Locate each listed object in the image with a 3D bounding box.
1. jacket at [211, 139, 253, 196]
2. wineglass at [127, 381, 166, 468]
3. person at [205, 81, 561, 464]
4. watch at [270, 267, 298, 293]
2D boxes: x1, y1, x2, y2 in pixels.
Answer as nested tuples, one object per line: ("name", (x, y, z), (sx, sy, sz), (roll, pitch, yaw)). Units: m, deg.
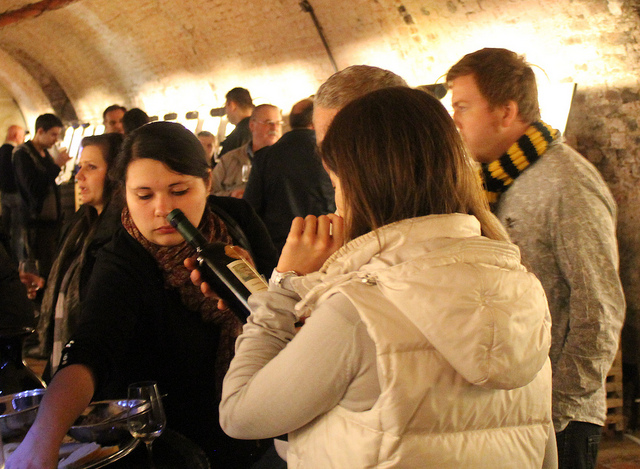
("jacket", (-0.846, -0.592, 5.331), (0.540, 0.493, 0.235), (2, -15, 38))
("wineglass", (-0.594, 0.652, 1.938), (0.122, 0.185, 0.229), (-16, 10, -20))
("person", (0.159, 0.152, 1.596), (0.881, 1.107, 0.474), (-10, 10, 15))
("watch", (-0.112, 0.134, 1.668), (0.082, 0.053, 0.057), (8, -4, -11))
